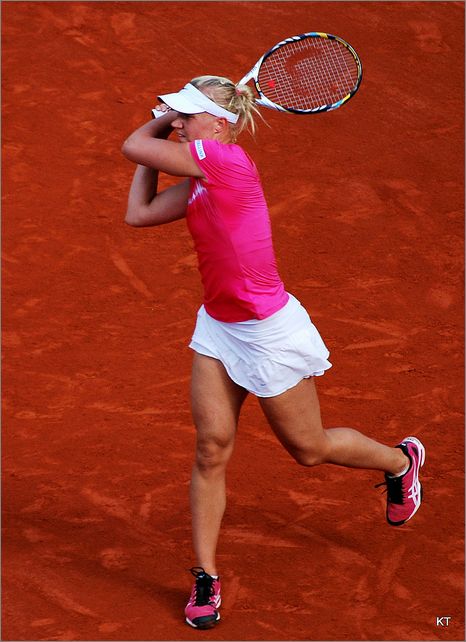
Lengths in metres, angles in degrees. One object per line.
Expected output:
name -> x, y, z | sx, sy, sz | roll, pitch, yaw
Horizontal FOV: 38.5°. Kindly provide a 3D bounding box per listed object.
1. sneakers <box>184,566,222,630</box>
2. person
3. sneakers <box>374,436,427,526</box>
sneakers -> -0.119, 1.081, 2.631 | 0.135, 0.162, 0.333 | -1, -1, 4
person -> 0.142, 0.128, 2.651 | 1.146, 2.095, 0.495 | 0, 8, -9
sneakers -> 0.751, 0.771, 3.181 | 0.207, 0.433, 0.239 | 7, 7, 38
